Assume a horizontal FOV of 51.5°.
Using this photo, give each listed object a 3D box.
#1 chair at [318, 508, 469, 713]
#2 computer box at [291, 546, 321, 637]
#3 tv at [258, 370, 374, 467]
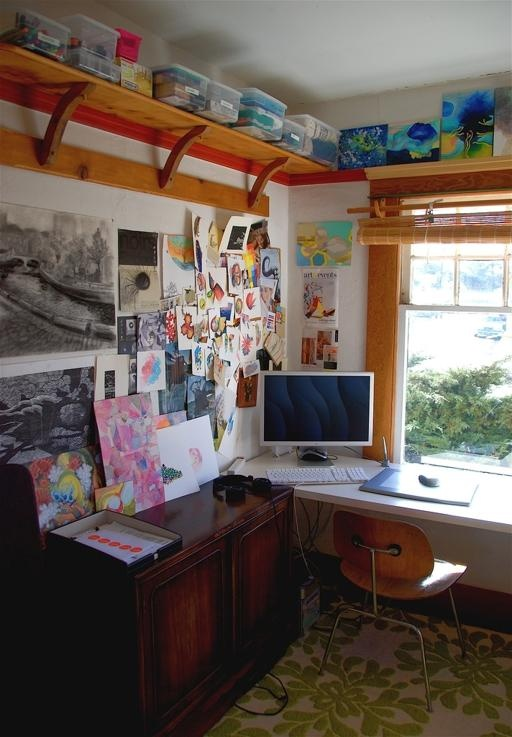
[{"bbox_3d":[0.566,0.862,2.182,0.560,0.699,0.636,1,3,21],"label":"chair"},{"bbox_3d":[0.209,1.065,2.417,0.139,0.204,0.126,-9,16,-29],"label":"computer box"},{"bbox_3d":[0.294,0.235,2.639,0.463,0.371,0.137,0,1,-1],"label":"tv"}]
